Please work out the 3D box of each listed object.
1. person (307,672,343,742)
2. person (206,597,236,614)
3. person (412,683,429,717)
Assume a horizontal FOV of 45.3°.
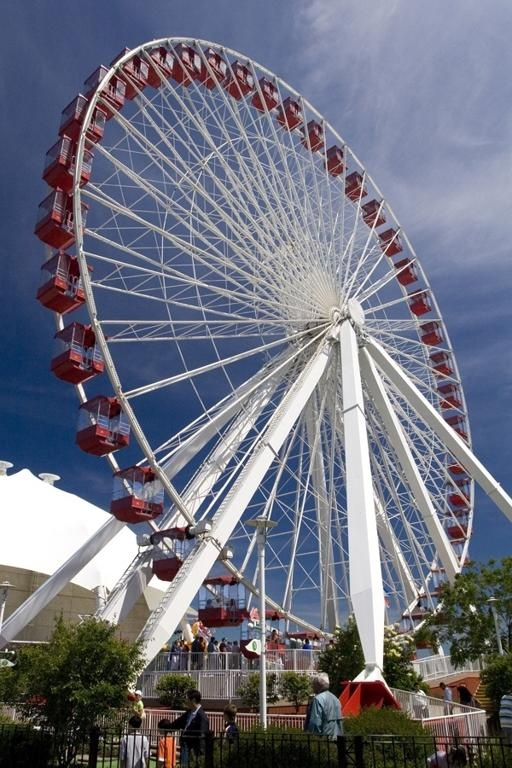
[{"bbox_3d":[0.611,2.825,5.421,0.323,0.576,1.143,0,-31,6],"label":"person"},{"bbox_3d":[-1.232,7.770,21.595,1.270,0.473,0.498,-15,-35,28],"label":"person"},{"bbox_3d":[3.573,6.875,13.124,0.314,0.584,1.862,-5,-32,14],"label":"person"}]
